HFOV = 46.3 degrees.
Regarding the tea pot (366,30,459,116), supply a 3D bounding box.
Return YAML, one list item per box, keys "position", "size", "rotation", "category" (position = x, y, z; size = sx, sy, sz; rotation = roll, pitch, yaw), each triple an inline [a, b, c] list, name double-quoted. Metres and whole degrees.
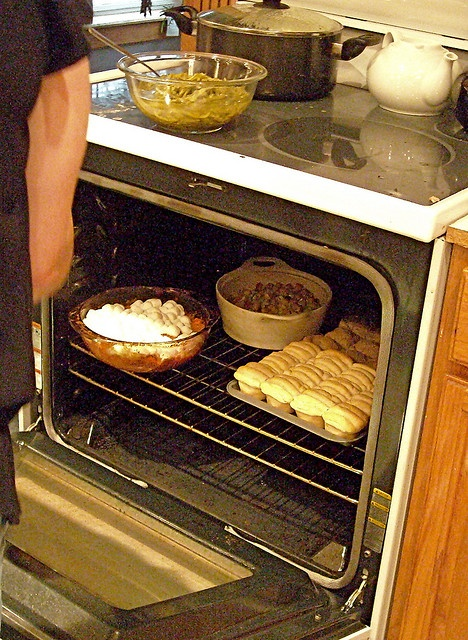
- position: [0.318, -0.483, 1.098]
  size: [0.158, 0.105, 0.170]
  rotation: [1, 42, -1]
  category: "tea pot"
